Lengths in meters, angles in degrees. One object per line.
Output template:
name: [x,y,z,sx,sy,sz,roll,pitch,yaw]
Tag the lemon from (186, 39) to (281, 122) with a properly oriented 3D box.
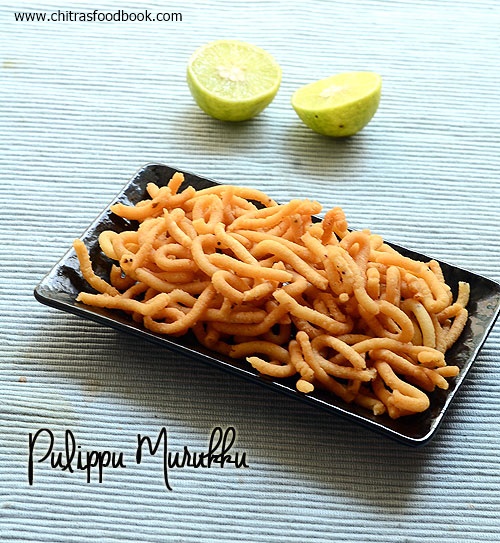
lemon: [-0.052,-0.436,1.612,0.267,0.121,0.197,5,47,-14]
